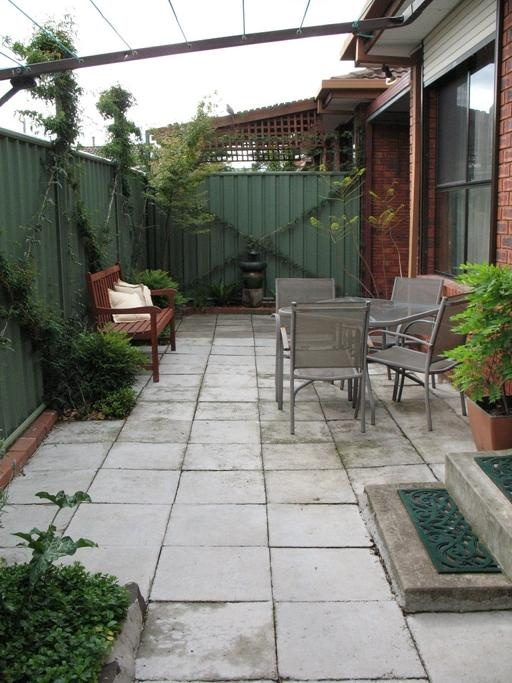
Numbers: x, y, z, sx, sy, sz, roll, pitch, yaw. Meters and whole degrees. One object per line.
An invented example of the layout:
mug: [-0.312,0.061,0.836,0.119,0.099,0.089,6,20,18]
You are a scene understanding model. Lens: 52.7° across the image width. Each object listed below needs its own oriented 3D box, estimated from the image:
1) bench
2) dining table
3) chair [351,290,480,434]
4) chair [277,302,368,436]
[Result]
bench: [-1.291,-0.178,5.347,0.612,0.915,1.428,-1,13,1]
dining table: [0.896,-0.057,4.374,1.065,0.861,1.250,4,10,39]
chair: [1.220,0.082,3.959,0.739,0.974,0.630,11,19,42]
chair: [0.531,0.193,3.709,0.711,0.902,0.743,14,4,8]
